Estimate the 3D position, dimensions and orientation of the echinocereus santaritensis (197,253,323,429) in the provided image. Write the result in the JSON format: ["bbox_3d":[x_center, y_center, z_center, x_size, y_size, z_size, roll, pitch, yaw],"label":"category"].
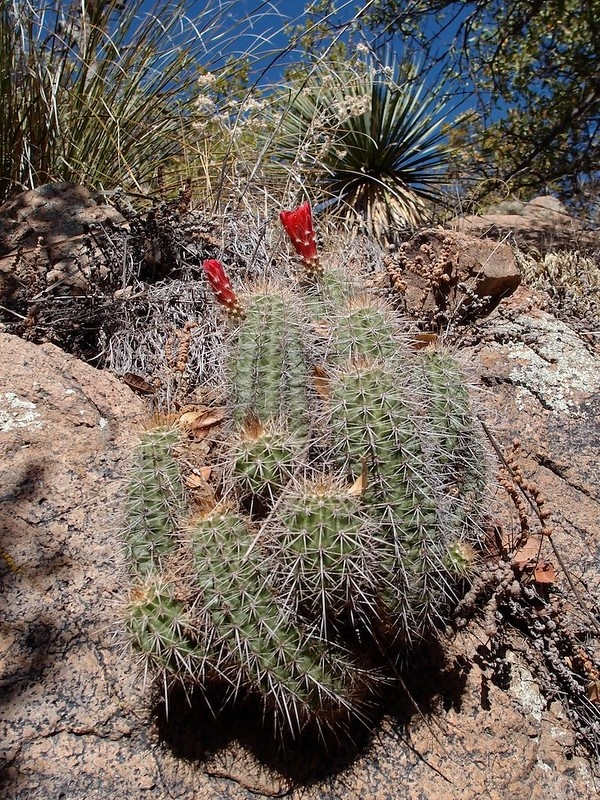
[{"bbox_3d":[-0.128,-0.184,2.424,0.421,0.344,0.803,4,58,-12],"label":"echinocereus santaritensis"}]

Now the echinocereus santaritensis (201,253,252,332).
[{"bbox_3d":[-0.261,-0.377,2.579,0.109,0.306,0.100,-1,42,34],"label":"echinocereus santaritensis"}]

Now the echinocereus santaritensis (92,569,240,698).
[{"bbox_3d":[-0.397,0.586,1.953,0.167,0.306,0.161,4,26,36],"label":"echinocereus santaritensis"}]

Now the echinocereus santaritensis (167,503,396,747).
[{"bbox_3d":[-0.081,0.679,2.012,0.705,0.552,0.322,25,28,8],"label":"echinocereus santaritensis"}]
